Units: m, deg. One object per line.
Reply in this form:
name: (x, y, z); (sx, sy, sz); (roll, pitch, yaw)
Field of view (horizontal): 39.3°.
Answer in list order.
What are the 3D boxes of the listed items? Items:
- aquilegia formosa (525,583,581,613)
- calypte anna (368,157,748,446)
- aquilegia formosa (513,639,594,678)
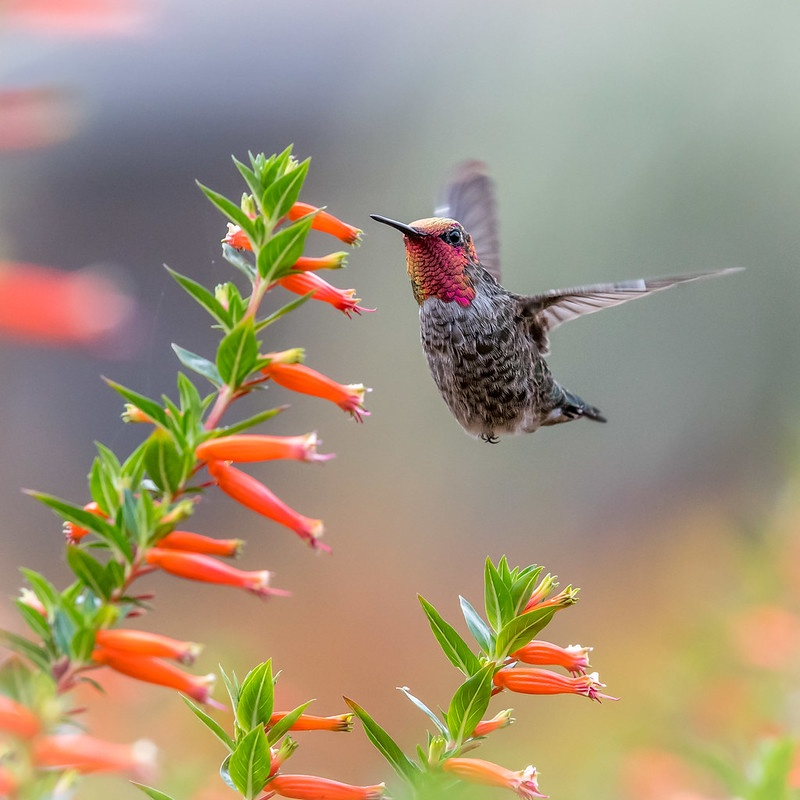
aquilegia formosa: (0.199, 0.253, 1.430); (0.030, 0.026, 0.077); (-6, -5, -41)
calypte anna: (0.259, -0.184, 2.414); (0.658, 0.498, 0.719); (0, 10, -38)
aquilegia formosa: (0.210, 0.343, 1.494); (0.114, 0.060, 0.047); (11, -15, -36)
